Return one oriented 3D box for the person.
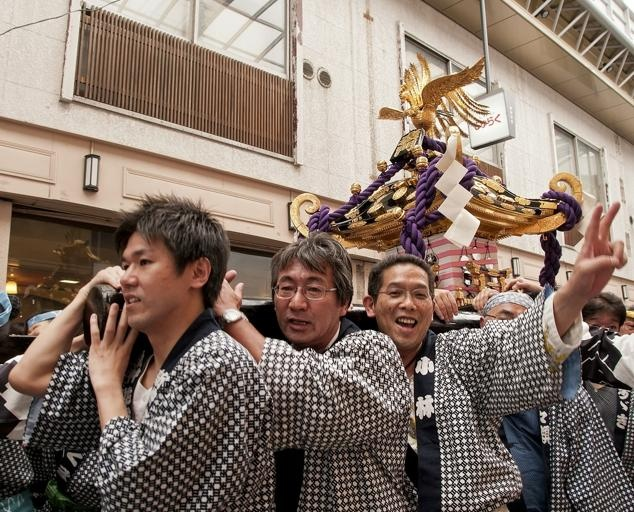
[{"bbox_3d":[-0.097,0.187,2.460,2.093,0.778,1.370,-3,-13,-3],"label":"person"}]
